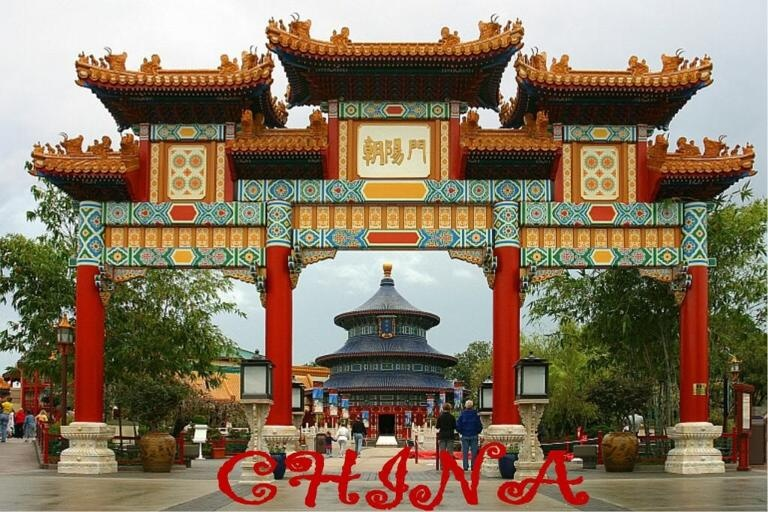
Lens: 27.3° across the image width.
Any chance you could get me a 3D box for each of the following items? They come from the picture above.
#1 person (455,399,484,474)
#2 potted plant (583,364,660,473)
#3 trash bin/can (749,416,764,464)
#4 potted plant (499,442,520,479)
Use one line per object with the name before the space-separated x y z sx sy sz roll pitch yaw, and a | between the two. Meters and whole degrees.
person | 2.726 5.778 51.310 0.885 2.256 0.749 2 -9 -10
potted plant | 8.263 5.735 55.083 2.790 3.270 2.405 7 -11 -15
trash bin/can | 13.003 6.325 54.951 0.591 1.614 0.634 -2 -10 12
potted plant | 3.944 6.514 50.713 1.078 1.134 1.024 2 -13 -4
